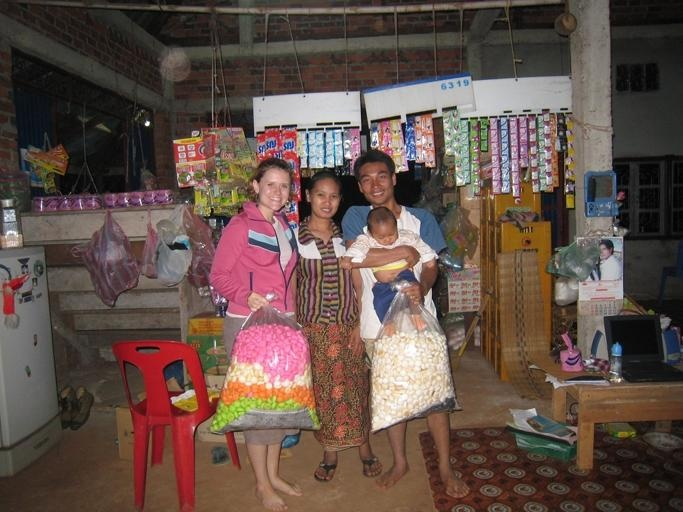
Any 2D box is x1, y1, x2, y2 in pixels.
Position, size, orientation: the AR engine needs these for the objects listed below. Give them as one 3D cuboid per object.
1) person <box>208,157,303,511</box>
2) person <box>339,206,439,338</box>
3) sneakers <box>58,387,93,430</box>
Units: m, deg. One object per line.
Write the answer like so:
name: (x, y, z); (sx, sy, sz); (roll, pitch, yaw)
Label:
person: (-0.547, 0.574, 4.249); (0.528, 2.527, 0.712); (6, 16, 31)
person: (0.404, 0.136, 4.487); (0.703, 0.979, 0.352); (-4, -5, 4)
sneakers: (-2.522, 1.427, 5.366); (0.229, 0.144, 0.396); (-4, 40, -20)
